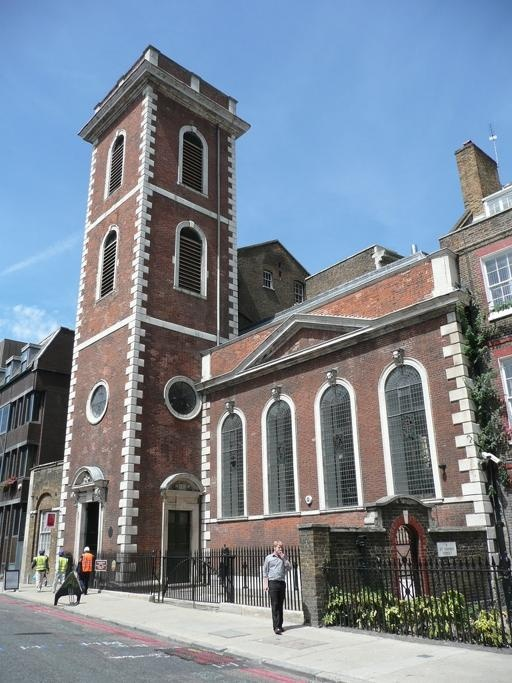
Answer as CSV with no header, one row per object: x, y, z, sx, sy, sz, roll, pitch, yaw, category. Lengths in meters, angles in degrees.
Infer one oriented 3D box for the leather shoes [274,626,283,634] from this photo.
0.425,5.341,9.547,0.128,0.075,0.173,2,-21,1,leather shoes

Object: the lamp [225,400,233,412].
-1.119,2.864,22.775,0.289,0.601,0.615,5,-22,-18,lamp

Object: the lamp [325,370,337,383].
2.703,1.230,18.269,0.186,0.363,0.364,12,-22,-25,lamp

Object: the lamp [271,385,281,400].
0.841,2.023,20.459,0.221,0.459,0.447,12,-22,-26,lamp

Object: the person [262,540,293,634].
0.430,4.788,10.119,0.538,1.600,0.939,-2,-21,-1,person
